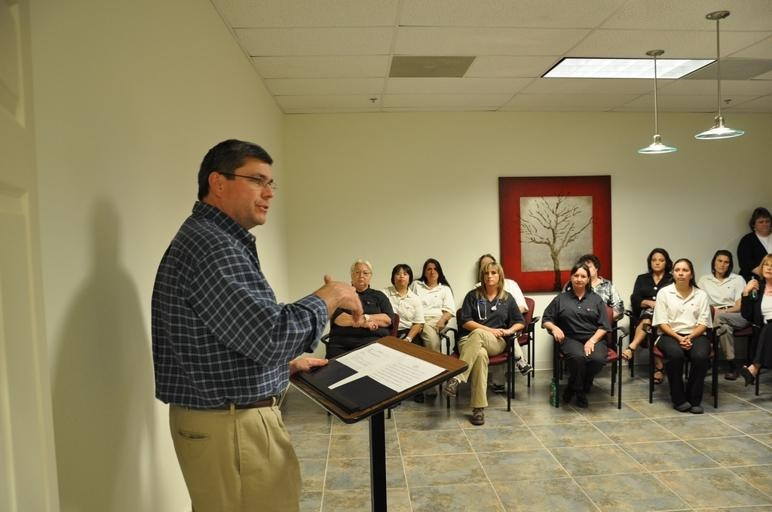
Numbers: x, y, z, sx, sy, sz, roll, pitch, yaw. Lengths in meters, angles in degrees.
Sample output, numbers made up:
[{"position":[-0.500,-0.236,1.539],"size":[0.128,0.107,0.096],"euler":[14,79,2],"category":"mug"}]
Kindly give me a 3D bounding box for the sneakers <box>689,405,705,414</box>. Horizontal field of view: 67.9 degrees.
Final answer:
[{"position":[3.039,1.503,5.577],"size":[0.063,0.037,0.111],"euler":[0,2,13],"category":"sneakers"}]

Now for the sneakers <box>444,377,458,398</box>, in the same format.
[{"position":[0.691,1.310,5.667],"size":[0.146,0.169,0.406],"euler":[0,-13,17],"category":"sneakers"}]

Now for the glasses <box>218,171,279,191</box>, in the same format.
[{"position":[-0.677,-0.375,2.825],"size":[0.130,0.035,0.129],"euler":[13,-1,20],"category":"glasses"}]

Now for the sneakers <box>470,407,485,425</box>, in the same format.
[{"position":[0.890,1.522,5.537],"size":[0.140,0.128,0.299],"euler":[0,8,9],"category":"sneakers"}]

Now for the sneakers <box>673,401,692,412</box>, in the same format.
[{"position":[2.949,1.493,5.653],"size":[0.143,0.074,0.102],"euler":[0,8,9],"category":"sneakers"}]

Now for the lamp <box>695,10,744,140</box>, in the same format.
[{"position":[3.544,-1.673,6.088],"size":[0.484,0.967,3.430],"euler":[4,9,31],"category":"lamp"}]

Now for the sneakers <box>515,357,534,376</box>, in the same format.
[{"position":[1.565,1.236,6.428],"size":[0.131,0.152,0.357],"euler":[-12,-16,3],"category":"sneakers"}]

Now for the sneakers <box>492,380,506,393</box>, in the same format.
[{"position":[1.268,1.468,6.430],"size":[0.070,0.087,0.192],"euler":[1,3,5],"category":"sneakers"}]

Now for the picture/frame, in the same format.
[{"position":[2.068,-0.271,7.207],"size":[1.428,1.431,0.055],"euler":[-1,1,1],"category":"picture/frame"}]

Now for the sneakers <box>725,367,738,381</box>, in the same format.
[{"position":[4.042,1.392,6.676],"size":[0.078,0.157,0.238],"euler":[-6,-15,30],"category":"sneakers"}]

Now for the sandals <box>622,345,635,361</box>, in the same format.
[{"position":[2.802,1.135,6.585],"size":[0.123,0.135,0.378],"euler":[-3,-23,23],"category":"sandals"}]

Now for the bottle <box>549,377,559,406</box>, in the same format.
[{"position":[1.726,1.375,5.838],"size":[0.085,0.311,0.191],"euler":[1,8,17],"category":"bottle"}]

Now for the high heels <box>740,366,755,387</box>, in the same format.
[{"position":[3.874,1.286,6.104],"size":[0.109,0.277,0.084],"euler":[-21,11,-20],"category":"high heels"}]
